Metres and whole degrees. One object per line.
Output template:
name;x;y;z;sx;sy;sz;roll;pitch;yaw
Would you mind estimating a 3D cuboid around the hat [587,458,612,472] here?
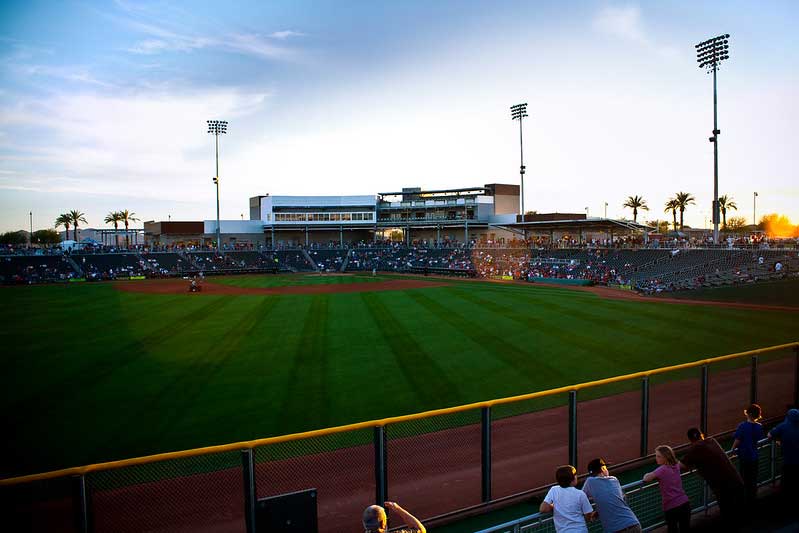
hat;4.138;4.117;13.316;0.376;0.318;0.206;-5;7;-27
